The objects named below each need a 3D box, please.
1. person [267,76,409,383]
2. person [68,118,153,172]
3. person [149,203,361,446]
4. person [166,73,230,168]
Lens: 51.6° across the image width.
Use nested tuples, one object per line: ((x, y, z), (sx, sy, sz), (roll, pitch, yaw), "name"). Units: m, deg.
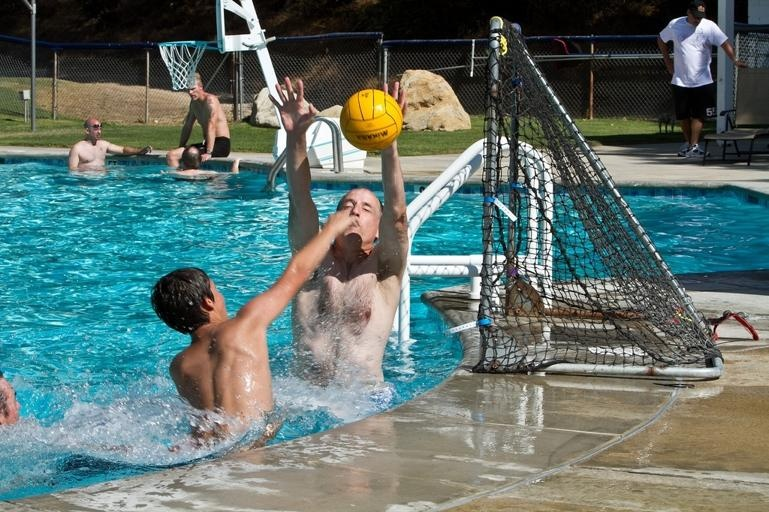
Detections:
((-0.206, -0.123, 4.825), (0.938, 1.711, 1.275), (1, -2, -3), "person")
((-4.990, -1.942, 13.818), (0.917, 0.840, 1.206), (8, 15, 35), "person")
((-0.731, 0.420, 4.089), (0.896, 1.049, 0.322), (-1, 14, 0), "person")
((-3.262, -2.278, 14.130), (1.175, 1.673, 1.214), (8, 14, 43), "person")
